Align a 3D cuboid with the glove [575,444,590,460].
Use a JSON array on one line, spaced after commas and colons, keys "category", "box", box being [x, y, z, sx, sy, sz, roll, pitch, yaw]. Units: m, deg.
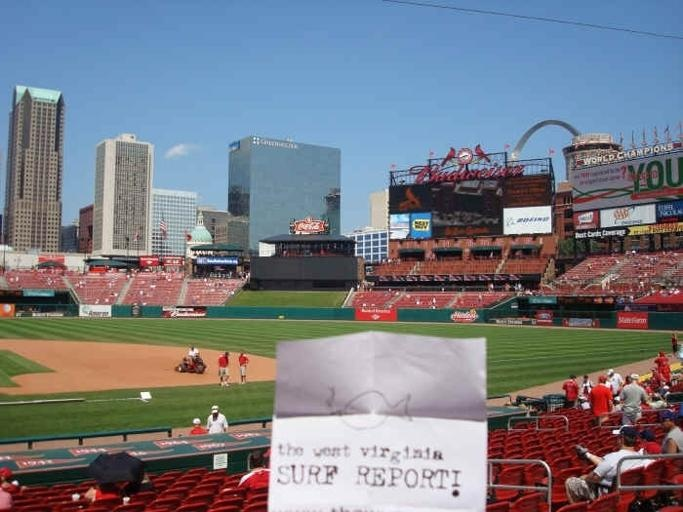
[{"category": "glove", "box": [10.155, 8.220, 44.937, 0.499, 0.610, 0.216, 12, -44, -12]}]
